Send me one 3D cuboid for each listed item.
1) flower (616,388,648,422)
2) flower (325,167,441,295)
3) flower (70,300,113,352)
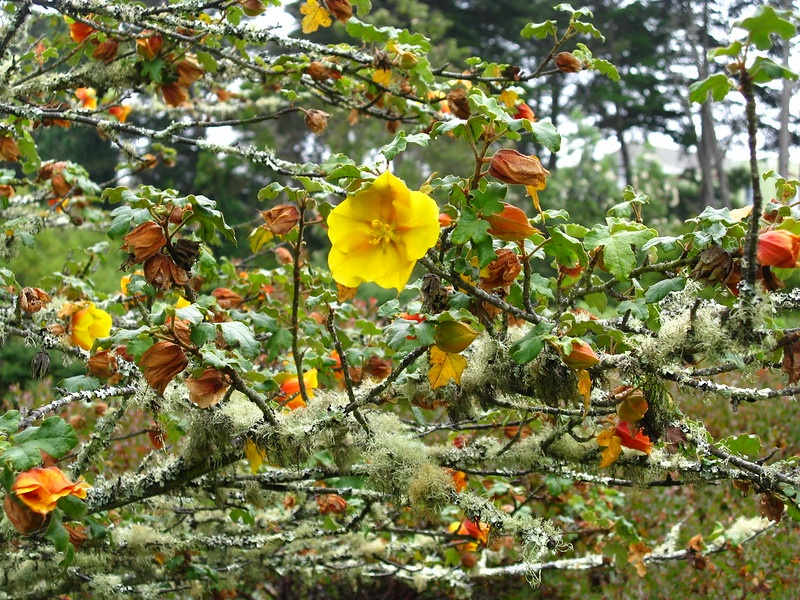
[{"bbox_3d":[1.609,0.712,13.216,0.217,0.196,0.137,47,-3,-11],"label":"flower"},{"bbox_3d":[-0.113,-0.489,13.066,0.786,0.834,0.295,2,-5,-1],"label":"flower"},{"bbox_3d":[-2.262,0.211,13.602,0.312,0.320,0.210,-34,29,-24],"label":"flower"}]
